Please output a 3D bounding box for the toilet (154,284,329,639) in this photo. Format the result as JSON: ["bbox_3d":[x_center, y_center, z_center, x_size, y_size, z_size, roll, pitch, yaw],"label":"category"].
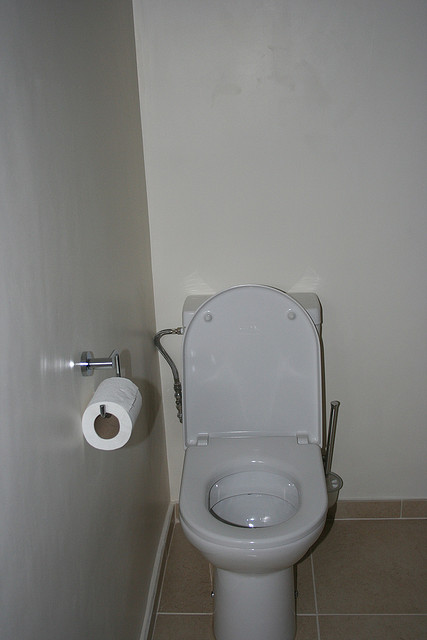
[{"bbox_3d":[0.039,0.361,1.410,0.496,0.867,0.690,-1,14,10],"label":"toilet"}]

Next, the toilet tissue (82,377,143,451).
[{"bbox_3d":[-0.165,0.159,0.896,0.074,0.096,0.139,-3,14,1],"label":"toilet tissue"}]
